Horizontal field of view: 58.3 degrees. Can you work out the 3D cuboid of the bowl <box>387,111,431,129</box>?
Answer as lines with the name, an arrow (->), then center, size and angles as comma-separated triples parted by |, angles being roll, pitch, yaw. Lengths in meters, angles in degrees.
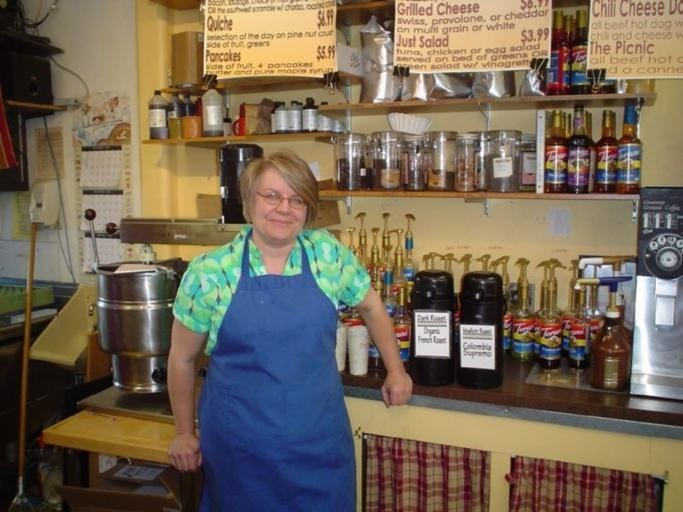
bowl -> 0.334, -0.663, 3.025 | 0.117, 0.047, 0.117 | 2, 5, 0

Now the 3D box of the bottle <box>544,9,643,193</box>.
bottle -> 1.126, -0.697, 2.743 | 0.413, 0.832, 0.373 | 2, 5, 24
